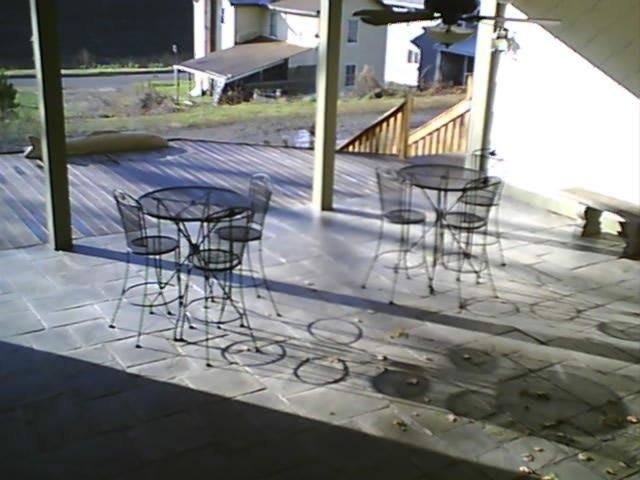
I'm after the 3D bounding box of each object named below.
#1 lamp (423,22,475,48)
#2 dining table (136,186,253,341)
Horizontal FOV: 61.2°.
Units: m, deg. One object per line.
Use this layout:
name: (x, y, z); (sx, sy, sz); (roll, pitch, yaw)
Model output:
lamp: (1.059, -1.733, 4.504); (0.396, 0.184, 0.424); (-1, 19, -12)
dining table: (-1.169, 0.265, 5.112); (1.331, 1.292, 1.185); (-8, 25, -22)
